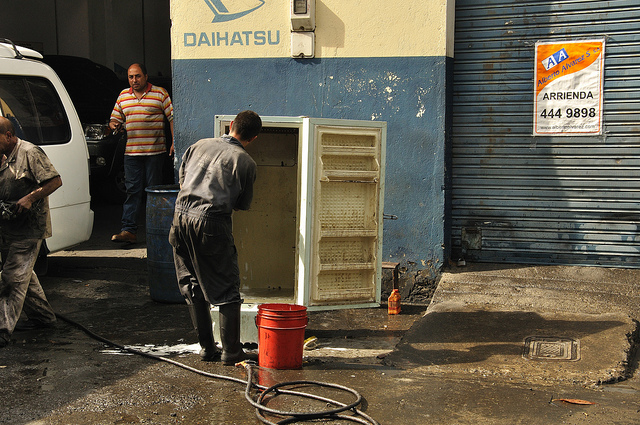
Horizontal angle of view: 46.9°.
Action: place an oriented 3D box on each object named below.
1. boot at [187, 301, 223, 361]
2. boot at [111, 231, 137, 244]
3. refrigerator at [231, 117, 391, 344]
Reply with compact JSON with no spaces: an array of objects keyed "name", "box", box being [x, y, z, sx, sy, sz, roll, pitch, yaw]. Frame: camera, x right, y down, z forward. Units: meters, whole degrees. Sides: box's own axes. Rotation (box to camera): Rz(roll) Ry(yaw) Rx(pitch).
[{"name":"boot","box":[-1.254,1.354,8.390,0.387,0.624,0.371,-1,-9,7]},{"name":"boot","box":[-3.262,0.431,12.223,0.439,0.188,0.161,8,-2,-34]},{"name":"refrigerator","box":[-0.024,0.272,9.975,2.248,2.786,2.832,0,-5,-3]}]
